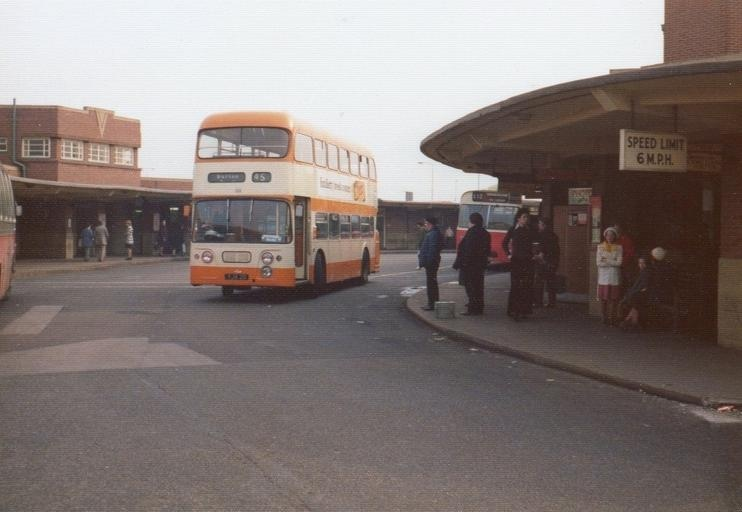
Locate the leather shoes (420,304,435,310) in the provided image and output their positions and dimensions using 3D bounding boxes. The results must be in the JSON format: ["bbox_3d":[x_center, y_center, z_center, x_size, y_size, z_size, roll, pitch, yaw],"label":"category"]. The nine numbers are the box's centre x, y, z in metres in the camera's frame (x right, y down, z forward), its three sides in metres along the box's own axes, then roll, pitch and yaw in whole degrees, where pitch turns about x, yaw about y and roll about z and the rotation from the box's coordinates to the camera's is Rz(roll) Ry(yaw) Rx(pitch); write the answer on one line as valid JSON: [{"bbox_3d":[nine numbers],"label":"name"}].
[{"bbox_3d":[1.347,1.196,17.039,0.300,0.184,0.100,6,5,39],"label":"leather shoes"}]

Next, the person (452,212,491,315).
[{"bbox_3d":[2.336,0.165,16.524,0.788,2.280,1.381,0,3,9],"label":"person"}]

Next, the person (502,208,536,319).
[{"bbox_3d":[3.354,0.139,16.201,0.587,2.384,0.859,1,3,24],"label":"person"}]

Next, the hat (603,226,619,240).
[{"bbox_3d":[4.954,-0.452,14.667,0.294,0.293,0.373,-1,-12,4],"label":"hat"}]

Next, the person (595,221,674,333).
[{"bbox_3d":[5.442,0.412,14.654,1.329,1.951,1.180,2,4,34],"label":"person"}]

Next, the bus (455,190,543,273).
[{"bbox_3d":[6.402,-0.141,36.834,3.136,4.146,9.565,3,-10,14],"label":"bus"}]

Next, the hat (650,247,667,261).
[{"bbox_3d":[5.685,-0.036,14.179,0.297,0.151,0.293,4,2,30],"label":"hat"}]
